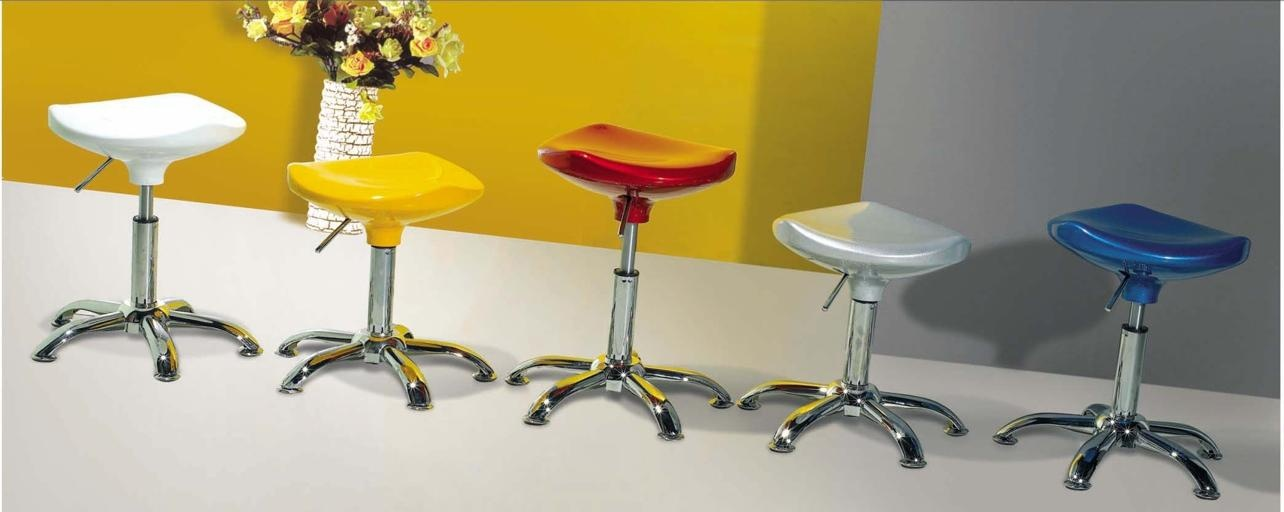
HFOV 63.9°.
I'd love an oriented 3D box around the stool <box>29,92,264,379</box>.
[{"bbox_3d":[-3.260,-0.159,6.851,2.159,1.572,1.494,-2,16,-29],"label":"stool"}]
